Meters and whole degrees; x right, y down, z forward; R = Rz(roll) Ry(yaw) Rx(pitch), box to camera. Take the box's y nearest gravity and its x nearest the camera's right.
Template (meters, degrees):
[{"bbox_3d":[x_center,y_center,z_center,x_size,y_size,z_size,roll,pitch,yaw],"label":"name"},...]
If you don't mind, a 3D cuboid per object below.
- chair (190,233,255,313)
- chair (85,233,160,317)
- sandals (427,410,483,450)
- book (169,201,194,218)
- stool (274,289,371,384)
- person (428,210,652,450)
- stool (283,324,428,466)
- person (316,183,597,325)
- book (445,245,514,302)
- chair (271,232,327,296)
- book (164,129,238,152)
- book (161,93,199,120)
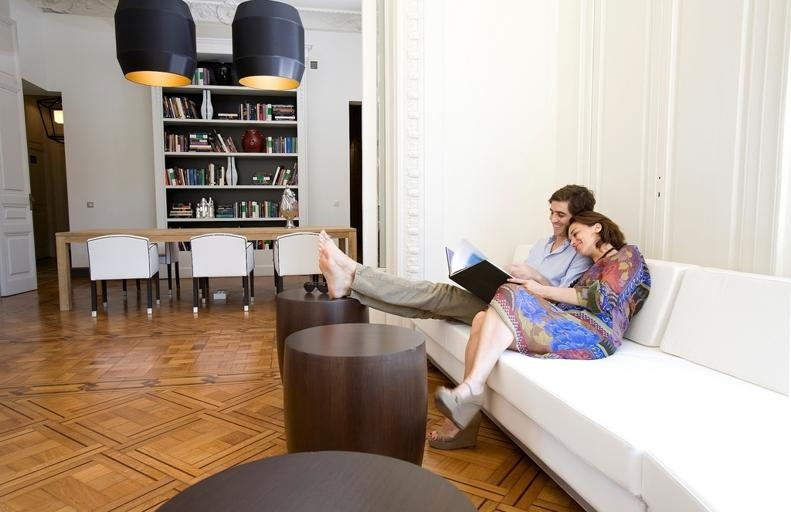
[{"bbox_3d":[-1.779,0.173,5.291,0.528,0.747,0.580,-2,1,-15],"label":"chair"},{"bbox_3d":[-2.729,0.175,5.190,0.679,0.728,0.695,0,2,4],"label":"chair"},{"bbox_3d":[0.318,0.915,2.747,0.284,0.233,0.161,1,-1,0],"label":"sandals"},{"bbox_3d":[-3.064,-0.653,7.354,0.352,0.197,0.281,-4,12,-24],"label":"book"},{"bbox_3d":[-0.475,0.456,3.216,0.513,0.449,0.513,-1,2,-34],"label":"stool"},{"bbox_3d":[0.755,0.300,2.780,1.110,1.286,0.610,9,-10,-10],"label":"person"},{"bbox_3d":[-0.164,0.557,2.495,0.604,0.560,0.617,1,5,8],"label":"stool"},{"bbox_3d":[0.402,0.073,3.243,1.687,1.006,0.683,0,17,-11],"label":"person"},{"bbox_3d":[0.476,0.034,2.906,0.270,0.354,0.129,-34,26,38],"label":"book"},{"bbox_3d":[-1.028,0.050,5.592,0.660,0.925,0.721,-1,8,-8],"label":"chair"},{"bbox_3d":[-2.775,-1.622,7.306,0.954,0.289,0.265,-2,11,-12],"label":"book"},{"bbox_3d":[-3.014,-2.079,7.202,0.460,0.318,0.239,-3,12,-17],"label":"book"}]
